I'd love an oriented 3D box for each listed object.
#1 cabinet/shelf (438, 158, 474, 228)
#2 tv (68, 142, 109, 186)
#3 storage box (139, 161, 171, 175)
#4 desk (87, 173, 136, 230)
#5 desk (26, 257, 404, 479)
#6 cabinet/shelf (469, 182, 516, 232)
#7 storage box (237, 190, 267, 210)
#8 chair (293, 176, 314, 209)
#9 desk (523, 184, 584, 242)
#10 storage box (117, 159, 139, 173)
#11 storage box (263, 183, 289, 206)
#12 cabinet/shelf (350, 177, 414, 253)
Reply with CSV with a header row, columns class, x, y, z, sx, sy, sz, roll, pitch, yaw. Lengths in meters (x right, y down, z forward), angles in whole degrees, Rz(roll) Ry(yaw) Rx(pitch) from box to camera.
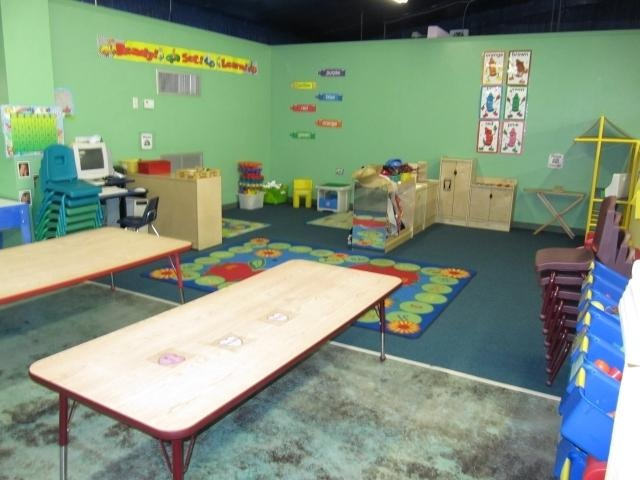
class,x,y,z,sx,sy,sz,roll,pitch,yaw
cabinet/shelf,2.476,-0.888,8.643,0.571,1.215,0.168,3,15,12
tv,-3.125,-1.030,6.322,0.290,0.563,0.550,-4,12,24
storage box,-2.557,-1.119,7.264,0.472,0.212,0.300,-6,16,-22
desk,-2.866,-0.533,6.671,0.577,0.676,0.921,9,17,26
desk,-0.534,0.803,3.032,1.052,0.601,2.059,11,18,36
cabinet/shelf,3.090,-0.614,8.417,0.718,0.905,0.339,9,14,26
storage box,-1.422,-0.838,9.734,0.357,0.313,0.472,9,17,33
chair,-0.368,-1.029,10.125,0.427,0.581,0.506,-1,14,-2
desk,4.126,-0.496,8.238,0.854,0.892,0.286,8,20,30
storage box,-2.963,-1.148,7.281,0.196,0.180,0.270,5,7,36
storage box,-0.944,-1.016,10.236,0.463,0.346,0.475,4,12,26
cabinet/shelf,0.913,-0.382,6.963,0.481,0.965,0.968,6,14,27
